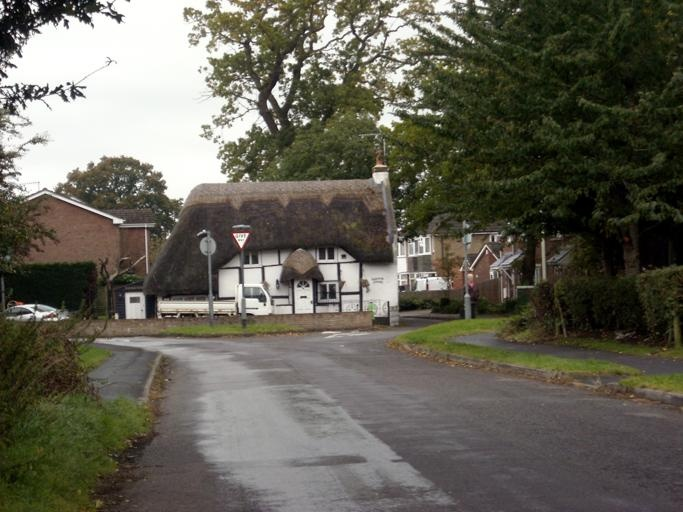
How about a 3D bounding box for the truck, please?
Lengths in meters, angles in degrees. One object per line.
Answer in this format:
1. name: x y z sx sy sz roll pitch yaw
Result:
1. truck: -6.907 2.742 46.387 6.026 2.551 2.435 -2 -2 0
